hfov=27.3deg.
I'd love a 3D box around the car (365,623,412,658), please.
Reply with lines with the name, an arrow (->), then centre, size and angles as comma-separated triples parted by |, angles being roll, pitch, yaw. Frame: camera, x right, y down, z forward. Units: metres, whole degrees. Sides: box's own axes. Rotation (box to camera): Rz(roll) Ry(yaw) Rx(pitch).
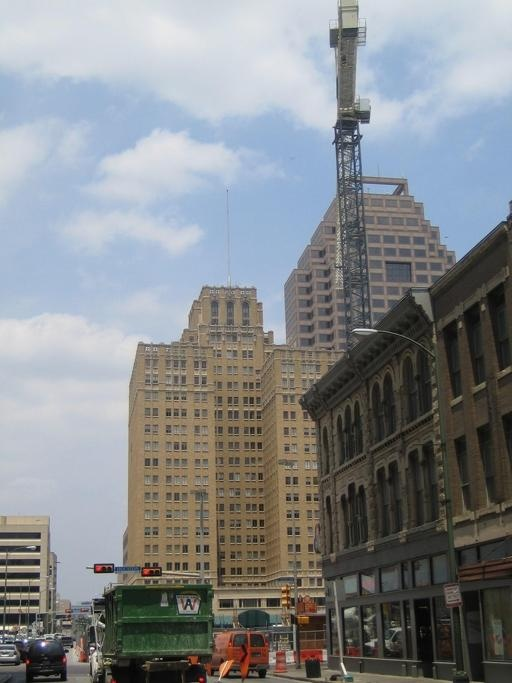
car -> 5.115, 11.059, 38.706 | 1.039, 0.973, 1.682 | 11, -15, -25

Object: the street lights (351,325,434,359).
street lights -> 5.009, 0.056, 37.671 | 3.965, 0.936, 0.402 | 18, -14, -38

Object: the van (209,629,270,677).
van -> -0.770, 13.397, 44.852 | 2.322, 1.929, 6.634 | 0, -17, -7
